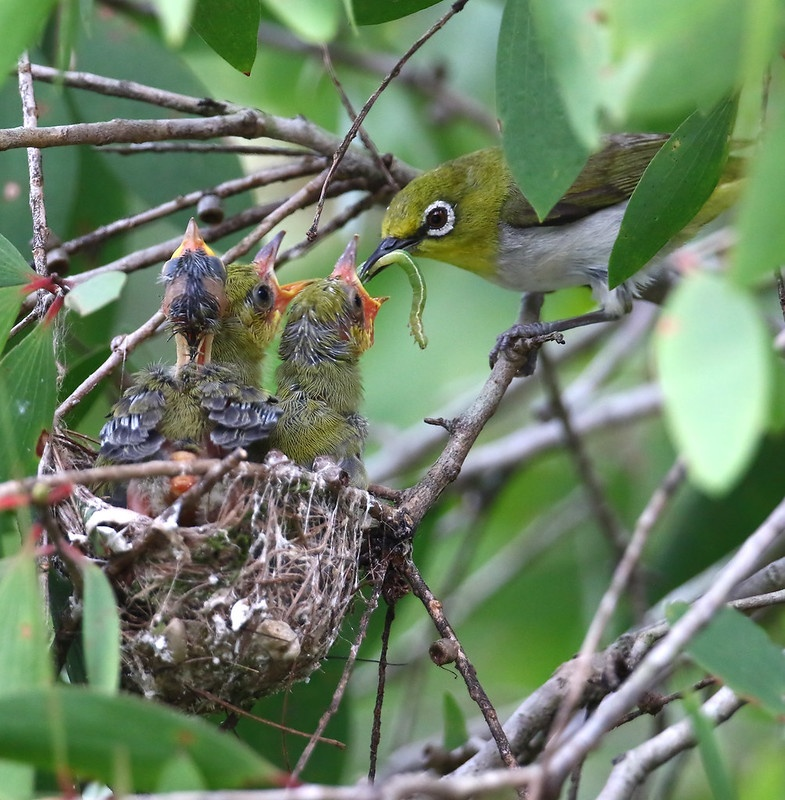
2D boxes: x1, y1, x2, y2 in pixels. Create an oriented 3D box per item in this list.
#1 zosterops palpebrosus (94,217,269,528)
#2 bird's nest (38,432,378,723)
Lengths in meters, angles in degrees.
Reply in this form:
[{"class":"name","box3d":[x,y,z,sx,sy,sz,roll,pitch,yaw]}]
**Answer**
[{"class":"zosterops palpebrosus","box3d":[-0.504,-0.058,2.633,0.473,0.528,0.749,-8,-75,-35]},{"class":"bird's nest","box3d":[-0.242,0.377,2.519,0.747,0.579,0.751,-10,-30,35]}]
